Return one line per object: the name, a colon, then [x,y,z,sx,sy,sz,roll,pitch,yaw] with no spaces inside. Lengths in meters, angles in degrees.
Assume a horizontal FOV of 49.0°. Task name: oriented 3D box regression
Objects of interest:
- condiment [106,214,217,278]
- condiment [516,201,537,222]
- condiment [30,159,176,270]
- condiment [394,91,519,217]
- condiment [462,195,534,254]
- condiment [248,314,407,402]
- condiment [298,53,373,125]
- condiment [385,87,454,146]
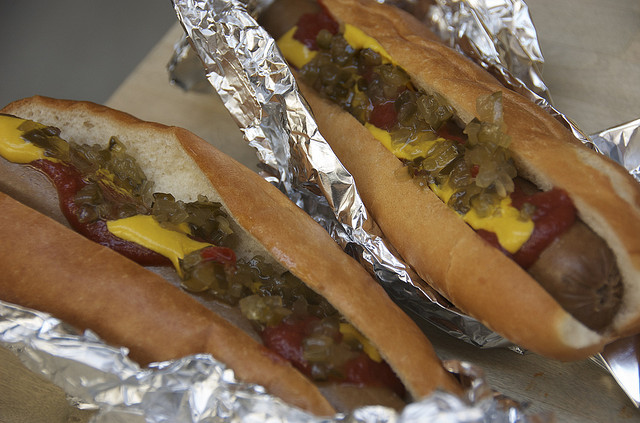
condiment: [-0.464,0.083,2.061,0.272,0.075,0.168,25,34,-15]
condiment: [0.598,0.007,2.038,0.035,0.018,0.066,30,88,25]
condiment: [-0.664,0.019,2.092,0.390,0.074,0.106,36,29,7]
condiment: [0.445,-0.175,2.112,0.309,0.117,0.361,-34,66,12]
condiment: [0.534,0.042,2.057,0.133,0.098,0.267,-4,26,2]
condiment: [0.010,0.357,2.041,0.462,0.193,0.306,-7,22,-19]
condiment: [0.070,-0.433,2.414,0.166,0.078,0.293,-44,78,19]
condiment: [0.320,-0.298,2.215,0.175,0.069,0.178,-46,67,28]
